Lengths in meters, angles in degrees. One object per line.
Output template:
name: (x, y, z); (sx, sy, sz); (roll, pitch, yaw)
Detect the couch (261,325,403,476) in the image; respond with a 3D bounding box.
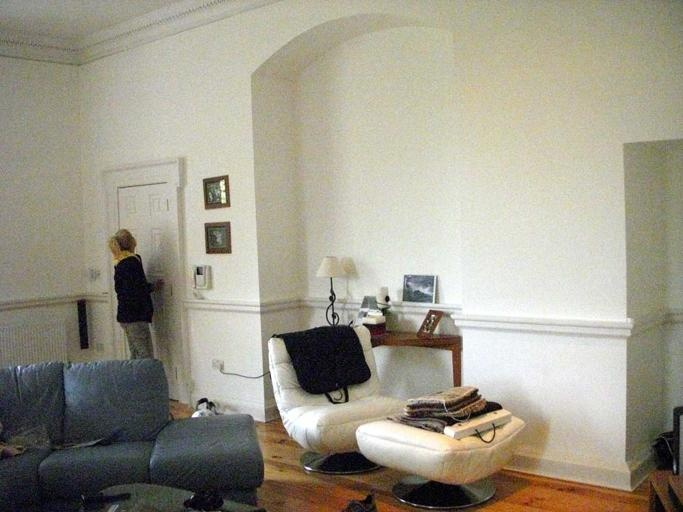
couch: (-0.118, 0.991, 4.202); (1.168, 1.074, 0.938); (-1, -3, -38)

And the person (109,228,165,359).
person: (-2.063, 0.399, 5.437); (0.478, 1.361, 0.424); (-10, 11, -40)

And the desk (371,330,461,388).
desk: (0.672, 0.930, 4.416); (0.740, 0.485, 0.414); (-2, -3, 42)

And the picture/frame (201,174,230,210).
picture/frame: (-1.220, -0.623, 5.193); (0.293, 0.285, 0.016); (-2, 3, 28)

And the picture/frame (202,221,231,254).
picture/frame: (-1.224, -0.185, 5.226); (0.015, 0.290, 0.292); (-2, 2, 42)

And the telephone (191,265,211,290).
telephone: (-1.394, 0.200, 5.314); (0.240, 0.278, 0.097); (0, 0, 32)

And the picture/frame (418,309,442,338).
picture/frame: (0.751, 0.560, 4.532); (0.161, 0.234, 0.060); (15, -7, 33)

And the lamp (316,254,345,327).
lamp: (-0.098, 0.322, 5.034); (0.238, 0.687, 0.509); (-3, 9, -1)
